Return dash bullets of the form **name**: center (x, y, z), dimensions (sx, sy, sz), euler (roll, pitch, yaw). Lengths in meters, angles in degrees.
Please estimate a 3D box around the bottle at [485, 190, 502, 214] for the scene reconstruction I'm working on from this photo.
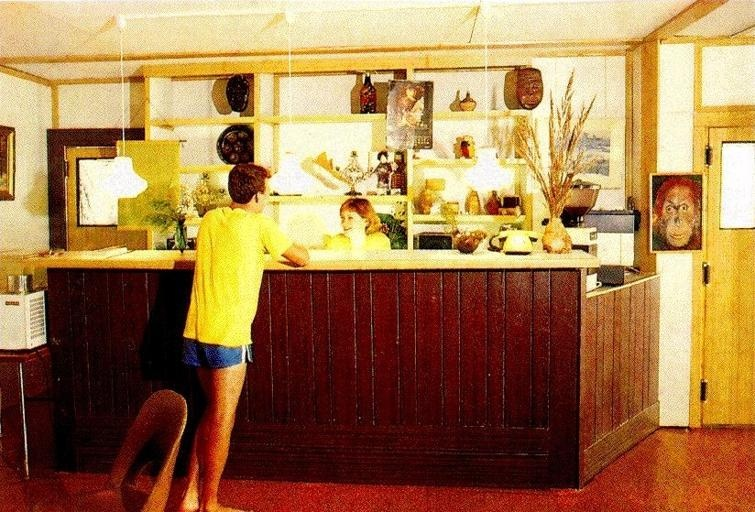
- **bottle**: center (1.182, -0.550, 7.026), dimensions (0.144, 0.224, 0.184), euler (2, 14, 10)

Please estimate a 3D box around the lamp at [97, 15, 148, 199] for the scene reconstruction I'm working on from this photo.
- **lamp**: center (-2.541, -1.362, 6.705), dimensions (0.404, 1.795, 2.334), euler (-5, 15, -21)

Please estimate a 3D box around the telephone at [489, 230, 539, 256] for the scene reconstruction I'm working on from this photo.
- **telephone**: center (1.100, -0.115, 5.525), dimensions (0.332, 0.152, 0.265), euler (-4, 3, 8)

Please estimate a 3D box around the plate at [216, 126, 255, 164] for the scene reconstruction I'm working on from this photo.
- **plate**: center (-1.526, -1.192, 7.361), dimensions (0.483, 0.523, 0.146), euler (-3, 5, 16)

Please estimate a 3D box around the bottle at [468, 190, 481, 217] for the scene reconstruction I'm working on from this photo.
- **bottle**: center (0.996, -0.568, 7.176), dimensions (0.155, 0.244, 0.226), euler (3, 14, 13)

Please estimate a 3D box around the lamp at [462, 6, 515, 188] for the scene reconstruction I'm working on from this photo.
- **lamp**: center (1.022, -1.394, 6.405), dimensions (0.462, 1.803, 1.818), euler (2, 14, 9)

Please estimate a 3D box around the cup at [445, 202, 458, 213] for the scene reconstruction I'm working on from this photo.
- **cup**: center (0.750, -0.502, 6.988), dimensions (0.106, 0.104, 0.110), euler (-1, 3, 0)

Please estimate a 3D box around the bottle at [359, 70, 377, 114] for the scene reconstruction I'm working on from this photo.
- **bottle**: center (-0.109, -1.726, 7.249), dimensions (0.191, 0.409, 0.338), euler (0, 14, -1)

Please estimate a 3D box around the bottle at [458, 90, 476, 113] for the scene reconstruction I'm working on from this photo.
- **bottle**: center (0.938, -1.604, 7.122), dimensions (0.200, 0.266, 0.202), euler (1, 9, 0)

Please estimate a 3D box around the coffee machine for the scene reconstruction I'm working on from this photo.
- **coffee machine**: center (1.738, -0.222, 6.124), dimensions (0.466, 0.870, 0.454), euler (-4, 4, -7)
